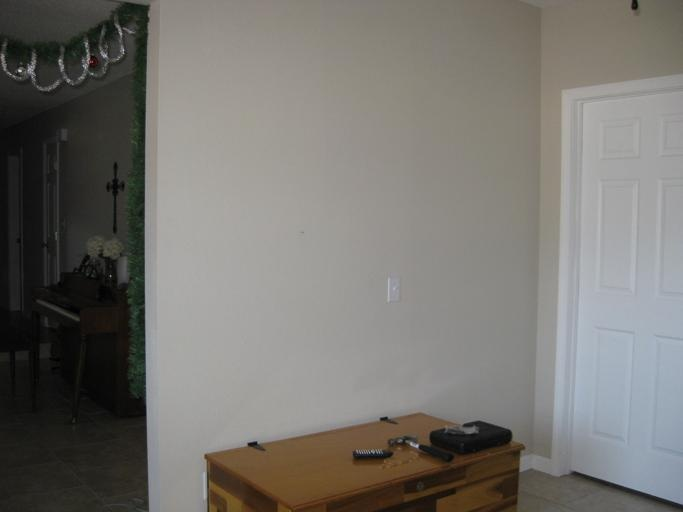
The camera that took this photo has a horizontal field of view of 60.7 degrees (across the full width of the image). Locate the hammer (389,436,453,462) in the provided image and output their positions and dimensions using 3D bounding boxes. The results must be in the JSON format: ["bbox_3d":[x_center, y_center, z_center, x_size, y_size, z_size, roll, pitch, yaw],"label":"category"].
[{"bbox_3d":[0.420,0.988,3.006,0.125,0.045,0.203,1,4,-35],"label":"hammer"}]

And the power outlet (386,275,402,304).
[{"bbox_3d":[0.321,0.199,3.501,0.041,0.134,0.126,1,3,37],"label":"power outlet"}]
